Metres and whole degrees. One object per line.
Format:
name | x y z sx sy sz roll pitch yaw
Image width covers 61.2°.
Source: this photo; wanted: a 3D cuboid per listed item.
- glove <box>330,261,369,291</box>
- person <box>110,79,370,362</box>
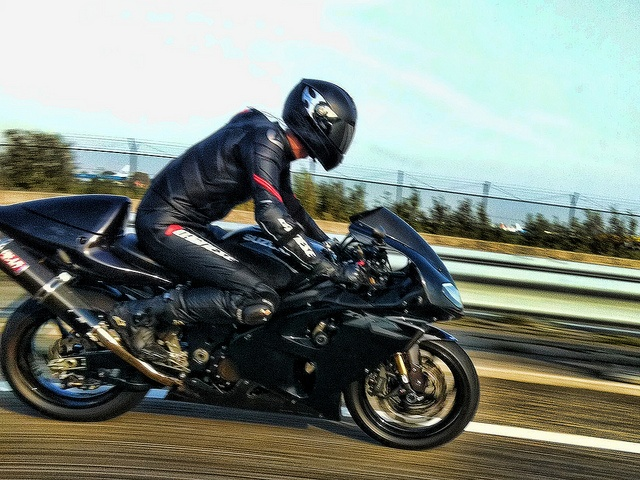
glove | 0.211 0.253 3.729 0.279 0.185 0.127 5 7 0
person | -0.604 -0.128 3.930 1.576 2.155 0.464 7 7 6
